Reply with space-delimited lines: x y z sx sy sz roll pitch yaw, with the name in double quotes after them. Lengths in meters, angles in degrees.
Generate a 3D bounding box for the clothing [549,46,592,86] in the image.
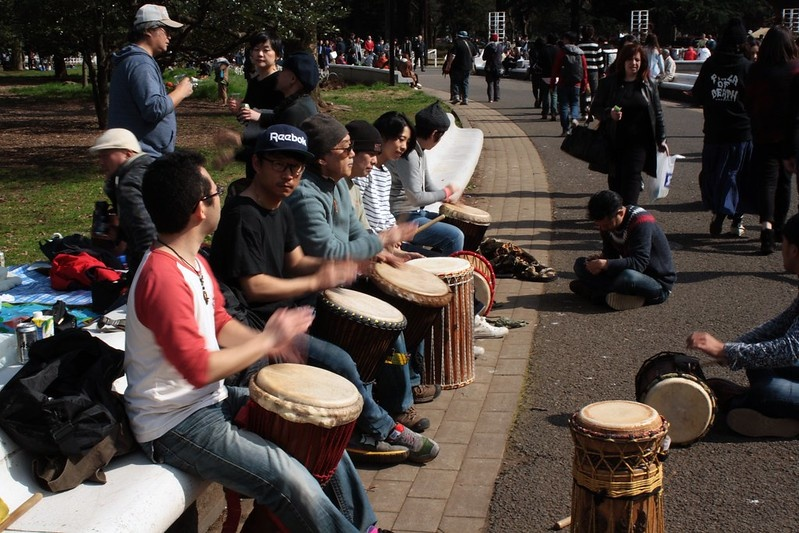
4.079 -4.828 16.110 0.961 0.978 0.544 -1 5 -25 "clothing"

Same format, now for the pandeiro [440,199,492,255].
0.773 -0.484 7.473 0.566 0.483 0.544 10 14 -29 "pandeiro"

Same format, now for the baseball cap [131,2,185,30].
-2.395 -2.503 6.717 0.405 0.191 0.256 -8 27 -30 "baseball cap"

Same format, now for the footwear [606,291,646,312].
2.442 0.387 7.229 0.372 0.197 0.121 0 3 -5 "footwear"

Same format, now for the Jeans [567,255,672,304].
2.420 0.181 7.330 0.677 0.298 0.668 0 4 -8 "Jeans"

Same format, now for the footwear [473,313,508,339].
0.944 0.621 6.734 0.440 0.198 0.155 1 16 -7 "footwear"

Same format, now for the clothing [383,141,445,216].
0.212 -0.913 7.248 0.807 0.771 0.610 9 10 28 "clothing"

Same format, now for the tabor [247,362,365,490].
-0.570 0.935 4.042 0.646 0.581 0.658 10 14 4 "tabor"

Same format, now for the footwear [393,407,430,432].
0.046 1.215 5.346 0.363 0.155 0.122 11 12 10 "footwear"

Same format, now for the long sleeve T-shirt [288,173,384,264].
-0.484 -0.371 5.131 0.576 0.718 0.825 7 9 22 "long sleeve T-shirt"

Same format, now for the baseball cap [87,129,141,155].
-2.334 -1.019 5.529 0.331 0.165 0.241 9 -13 -32 "baseball cap"

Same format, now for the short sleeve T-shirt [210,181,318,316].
-0.883 -0.083 4.345 0.486 0.867 0.833 1 10 21 "short sleeve T-shirt"

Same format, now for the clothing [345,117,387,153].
-0.271 -1.073 5.490 0.306 0.241 0.226 -1 18 3 "clothing"

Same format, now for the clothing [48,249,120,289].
-3.084 0.042 6.535 0.582 0.257 0.433 -1 1 -14 "clothing"

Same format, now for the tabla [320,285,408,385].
-0.340 0.386 4.965 0.655 0.528 0.651 19 13 -11 "tabla"

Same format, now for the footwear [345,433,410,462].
-0.135 1.313 5.052 0.560 0.271 0.180 1 20 2 "footwear"

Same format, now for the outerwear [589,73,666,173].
3.012 -1.839 8.824 0.983 1.336 0.762 5 8 22 "outerwear"

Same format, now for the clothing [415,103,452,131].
0.343 -1.585 7.123 0.331 0.213 0.333 24 40 26 "clothing"

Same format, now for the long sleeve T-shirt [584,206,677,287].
2.587 -0.184 7.526 0.895 0.966 0.795 -10 9 -37 "long sleeve T-shirt"

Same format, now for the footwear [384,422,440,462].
0.109 1.313 4.991 0.502 0.224 0.182 21 34 -8 "footwear"
